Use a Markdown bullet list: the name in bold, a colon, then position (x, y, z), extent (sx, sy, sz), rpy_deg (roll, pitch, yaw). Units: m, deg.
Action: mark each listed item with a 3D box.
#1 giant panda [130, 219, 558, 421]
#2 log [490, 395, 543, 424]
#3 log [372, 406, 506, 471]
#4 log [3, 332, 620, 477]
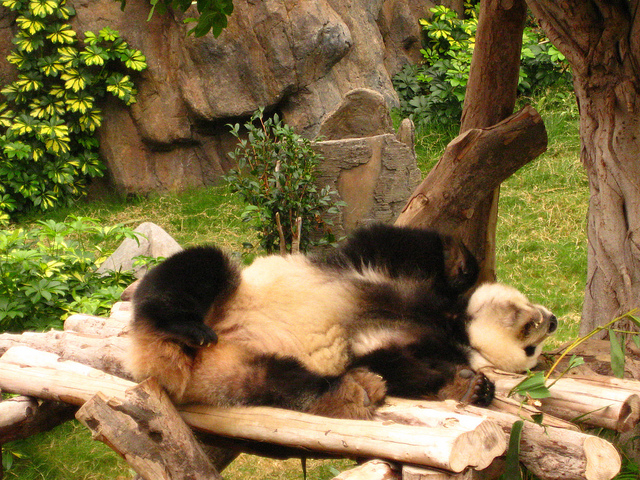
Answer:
- **giant panda**: position (0.231, 0.556, 5.018), extent (2.646, 1.352, 1.712), rpy_deg (2, -12, -4)
- **log**: position (1.102, 0.930, 4.445), extent (0.285, 0.122, 0.214), rpy_deg (0, 9, 33)
- **log**: position (0.650, 0.975, 4.551), extent (0.696, 0.321, 0.825), rpy_deg (-2, 12, -5)
- **log**: position (0.039, 0.905, 4.542), extent (3.702, 0.470, 0.441), rpy_deg (8, 8, 5)
